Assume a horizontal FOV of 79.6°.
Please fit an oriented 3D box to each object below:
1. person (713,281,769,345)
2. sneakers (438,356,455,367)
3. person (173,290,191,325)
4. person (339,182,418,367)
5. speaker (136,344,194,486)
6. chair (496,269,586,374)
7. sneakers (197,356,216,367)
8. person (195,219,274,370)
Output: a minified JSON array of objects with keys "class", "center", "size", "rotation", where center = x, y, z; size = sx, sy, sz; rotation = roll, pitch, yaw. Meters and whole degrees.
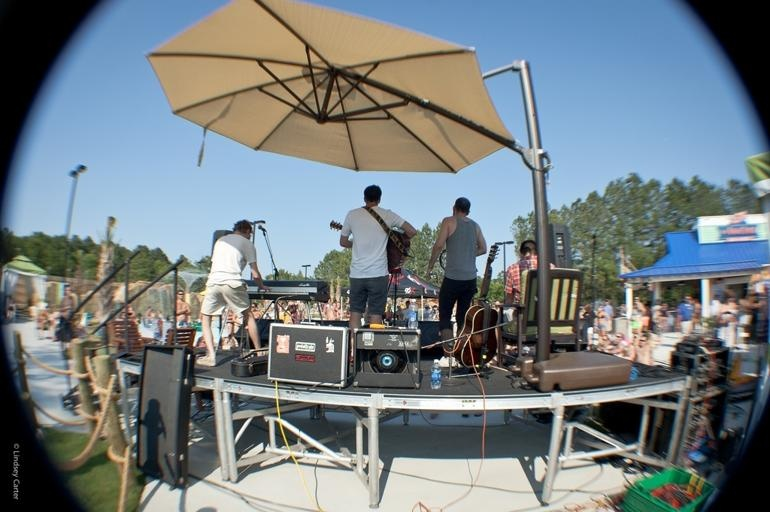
[{"class":"person","center":[6.753,1.114,8.736],"size":[0.959,1.092,1.042],"rotation":[-1,-6,28]},{"class":"sneakers","center":[0.882,1.458,6.542],"size":[0.237,0.105,0.318],"rotation":[-1,0,-3]},{"class":"person","center":[-5.332,1.336,12.149],"size":[0.299,0.849,1.615],"rotation":[-5,10,-23]},{"class":"person","center":[-0.148,-0.012,6.485],"size":[0.950,1.922,0.682],"rotation":[-2,10,-6]},{"class":"speaker","center":[-2.763,1.932,5.772],"size":[0.810,1.685,0.398],"rotation":[4,11,25]},{"class":"chair","center":[2.340,0.820,6.614],"size":[1.119,1.553,1.217],"rotation":[10,11,31]},{"class":"sneakers","center":[-2.488,1.466,6.414],"size":[0.305,0.128,0.118],"rotation":[7,-16,3]},{"class":"person","center":[-2.223,0.493,6.602],"size":[0.877,1.972,0.852],"rotation":[-2,10,-9]}]
